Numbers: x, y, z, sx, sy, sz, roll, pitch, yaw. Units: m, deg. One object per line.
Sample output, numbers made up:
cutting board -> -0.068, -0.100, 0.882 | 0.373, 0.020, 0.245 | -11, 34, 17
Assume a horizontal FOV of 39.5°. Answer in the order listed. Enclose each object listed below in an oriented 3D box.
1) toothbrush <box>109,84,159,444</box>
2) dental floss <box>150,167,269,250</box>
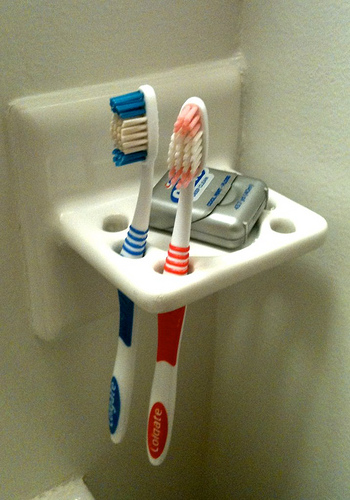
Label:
toothbrush -> -0.027, 0.034, 0.446 | 0.039, 0.351, 0.052 | -17, 23, -38
dental floss -> 0.055, -0.056, 0.558 | 0.154, 0.078, 0.098 | 15, 27, 30
